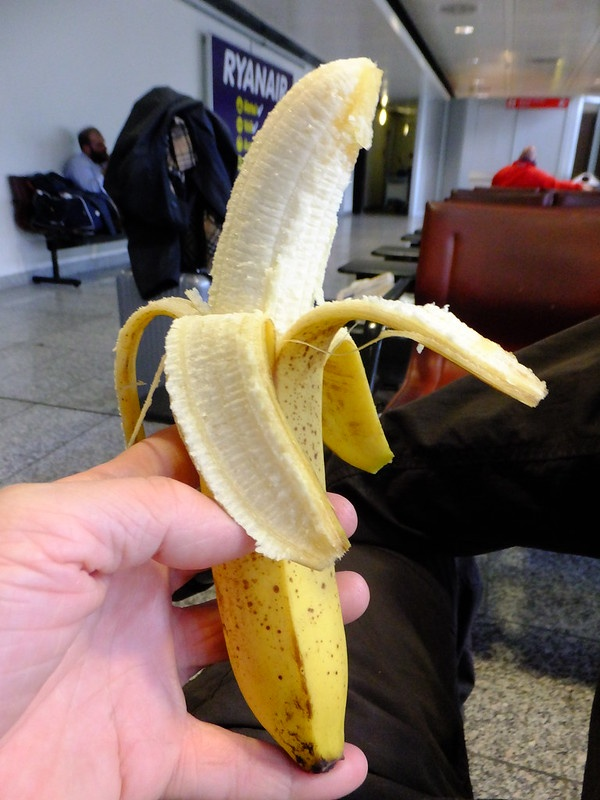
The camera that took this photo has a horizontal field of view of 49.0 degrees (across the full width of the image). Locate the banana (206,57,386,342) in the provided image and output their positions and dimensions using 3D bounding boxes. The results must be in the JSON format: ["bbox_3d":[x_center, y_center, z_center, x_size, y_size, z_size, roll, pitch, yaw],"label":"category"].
[{"bbox_3d":[-0.006,-0.146,0.606,0.090,0.285,0.089,10,16,-34],"label":"banana"}]

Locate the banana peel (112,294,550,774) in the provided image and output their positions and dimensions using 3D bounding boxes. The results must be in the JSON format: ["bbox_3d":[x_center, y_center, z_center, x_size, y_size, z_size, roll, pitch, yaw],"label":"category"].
[{"bbox_3d":[-0.012,0.093,0.596,0.239,0.384,0.371,-7,17,-23],"label":"banana peel"}]
